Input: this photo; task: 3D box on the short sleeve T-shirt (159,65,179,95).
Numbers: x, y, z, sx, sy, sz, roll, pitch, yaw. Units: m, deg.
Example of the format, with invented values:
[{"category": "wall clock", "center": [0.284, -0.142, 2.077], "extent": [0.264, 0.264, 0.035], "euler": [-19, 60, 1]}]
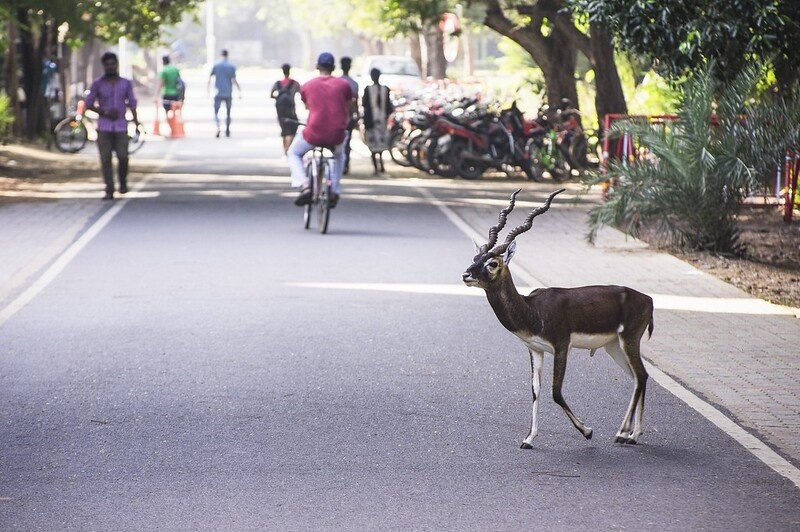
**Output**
[{"category": "short sleeve T-shirt", "center": [-8.276, -6.643, 32.446], "extent": [0.604, 1.000, 1.172], "euler": [-2, 12, -15]}]

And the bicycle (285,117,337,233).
[{"category": "bicycle", "center": [-1.359, -1.398, 15.137], "extent": [0.610, 1.600, 1.696], "euler": [0, 13, -7]}]

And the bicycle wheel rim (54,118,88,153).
[{"category": "bicycle wheel rim", "center": [-10.314, -4.021, 28.349], "extent": [1.235, 1.333, 0.650], "euler": [-1, 11, -9]}]

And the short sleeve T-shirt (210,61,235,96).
[{"category": "short sleeve T-shirt", "center": [-6.385, -6.731, 32.418], "extent": [0.770, 1.266, 1.432], "euler": [-1, 11, -11]}]
